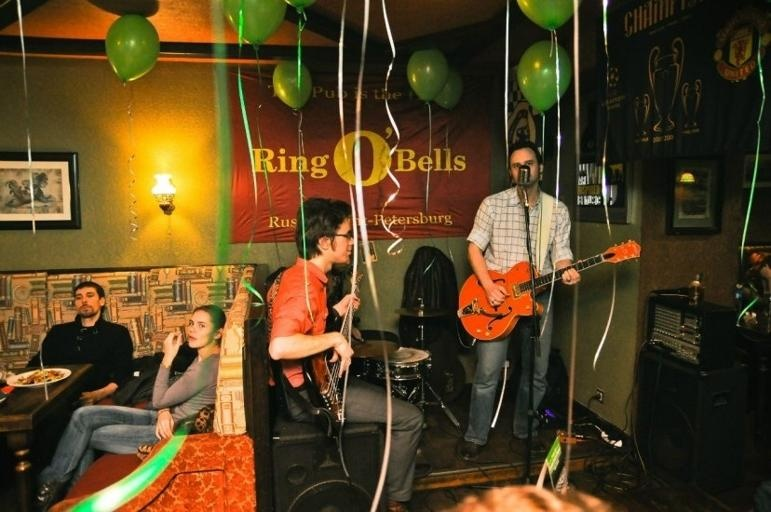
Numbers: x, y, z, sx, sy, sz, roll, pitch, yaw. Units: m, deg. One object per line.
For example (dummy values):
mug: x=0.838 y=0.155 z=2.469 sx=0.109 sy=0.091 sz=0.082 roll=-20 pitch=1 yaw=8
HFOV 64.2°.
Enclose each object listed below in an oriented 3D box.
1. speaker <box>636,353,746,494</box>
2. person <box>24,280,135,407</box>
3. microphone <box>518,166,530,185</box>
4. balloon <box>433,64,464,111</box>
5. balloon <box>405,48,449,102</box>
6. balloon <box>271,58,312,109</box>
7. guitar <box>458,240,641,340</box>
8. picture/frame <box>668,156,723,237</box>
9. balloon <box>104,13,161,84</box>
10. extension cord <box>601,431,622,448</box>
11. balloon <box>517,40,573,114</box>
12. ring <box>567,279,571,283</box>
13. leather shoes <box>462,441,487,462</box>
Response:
speaker: x=2.311 y=1.206 z=5.022 sx=0.795 sy=1.424 sz=1.020 roll=2 pitch=-5 yaw=-10
person: x=-2.578 y=0.878 z=5.591 sx=1.102 sy=1.481 sz=0.883 roll=-2 pitch=-33 yaw=-24
microphone: x=0.920 y=-0.533 z=4.076 sx=0.073 sy=0.131 sz=0.039 roll=0 pitch=6 yaw=18
balloon: x=0.602 y=-1.554 z=5.708 sx=0.301 sy=0.387 sz=0.320 roll=6 pitch=-6 yaw=1
balloon: x=0.338 y=-1.583 z=5.399 sx=0.291 sy=0.411 sz=0.368 roll=5 pitch=8 yaw=0
balloon: x=-0.833 y=-1.549 z=5.501 sx=0.325 sy=0.415 sz=0.297 roll=-5 pitch=6 yaw=-24
guitar: x=1.125 y=0.308 z=4.721 sx=1.580 sy=0.610 sz=0.190 roll=-23 pitch=-21 yaw=27
picture/frame: x=2.438 y=-0.477 z=4.786 sx=0.486 sy=0.588 sz=0.074 roll=2 pitch=8 yaw=-15
balloon: x=-2.080 y=-1.690 z=5.086 sx=0.499 sy=0.642 sz=0.495 roll=4 pitch=15 yaw=-23
extension cord: x=1.795 y=1.463 z=4.867 sx=0.094 sy=0.066 sz=0.189 roll=-7 pitch=7 yaw=-41
balloon: x=1.195 y=-1.380 z=4.651 sx=0.373 sy=0.508 sz=0.418 roll=0 pitch=6 yaw=19
ring: x=1.312 y=0.173 z=4.394 sx=0.022 sy=0.022 sz=0.005 roll=-14 pitch=3 yaw=19
leather shoes: x=0.678 y=1.502 z=4.751 sx=0.206 sy=0.119 sz=0.170 roll=-2 pitch=5 yaw=1
